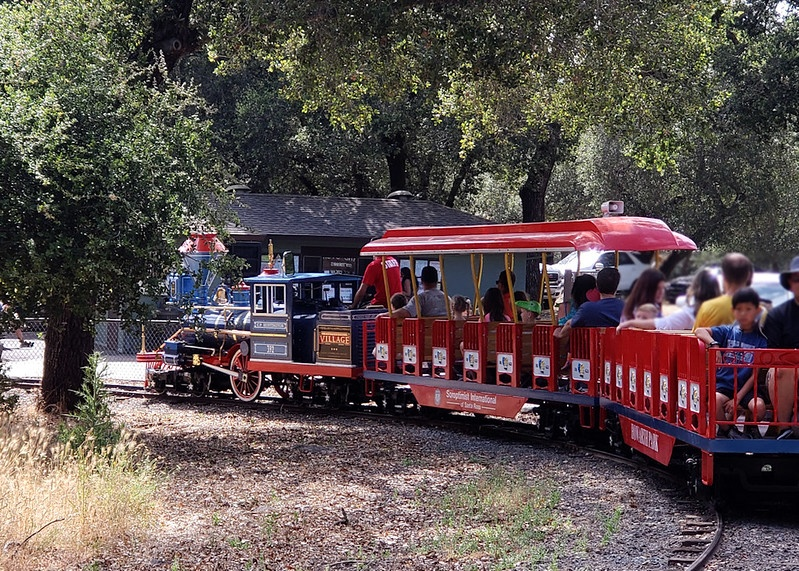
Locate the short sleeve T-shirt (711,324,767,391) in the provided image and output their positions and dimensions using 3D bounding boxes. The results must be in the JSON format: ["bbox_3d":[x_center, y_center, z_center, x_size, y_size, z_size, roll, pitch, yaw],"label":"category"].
[{"bbox_3d":[4.475,0.982,14.108,0.614,0.802,0.484,7,-15,-6],"label":"short sleeve T-shirt"}]

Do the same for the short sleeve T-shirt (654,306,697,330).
[{"bbox_3d":[3.977,0.467,15.575,0.541,0.326,0.380,3,10,16],"label":"short sleeve T-shirt"}]

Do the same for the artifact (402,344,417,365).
[{"bbox_3d":[0.161,1.267,19.612,0.286,0.306,0.069,1,4,41],"label":"artifact"}]

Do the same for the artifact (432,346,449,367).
[{"bbox_3d":[0.737,1.269,19.188,0.148,0.348,0.323,4,-5,-41],"label":"artifact"}]

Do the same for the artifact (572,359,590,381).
[{"bbox_3d":[2.915,1.355,17.197,0.167,0.329,0.300,-5,6,-30],"label":"artifact"}]
